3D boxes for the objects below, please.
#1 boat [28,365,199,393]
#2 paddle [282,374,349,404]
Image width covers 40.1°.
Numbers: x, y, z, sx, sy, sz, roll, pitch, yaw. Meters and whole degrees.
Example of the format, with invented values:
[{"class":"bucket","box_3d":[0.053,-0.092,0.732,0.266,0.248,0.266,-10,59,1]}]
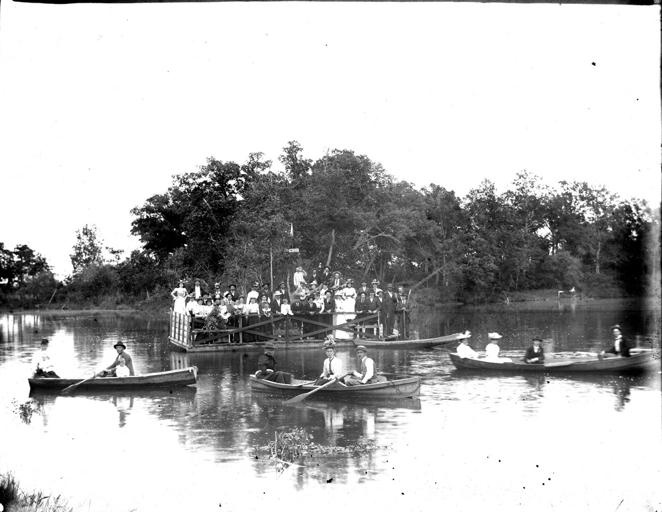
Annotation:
[{"class":"boat","box_3d":[-6.544,3.670,27.197,4.876,0.638,0.666,-1,8,-1]},{"class":"paddle","box_3d":[-0.477,3.712,25.618,1.763,0.700,0.541,-3,8,-21]}]
